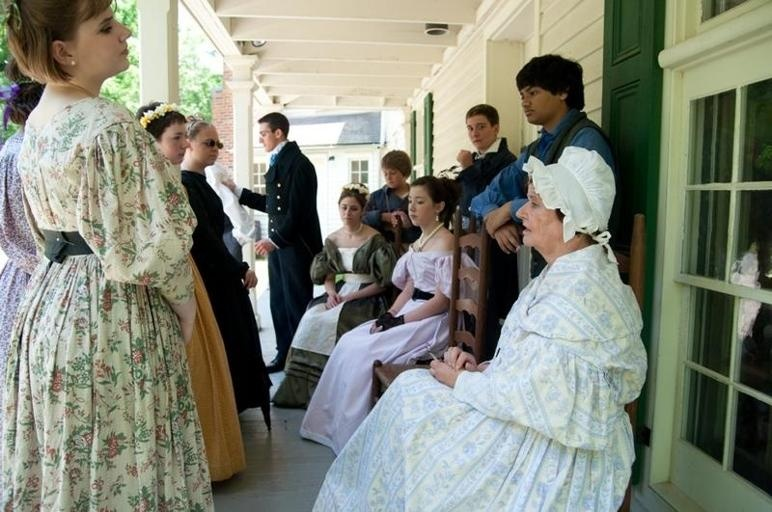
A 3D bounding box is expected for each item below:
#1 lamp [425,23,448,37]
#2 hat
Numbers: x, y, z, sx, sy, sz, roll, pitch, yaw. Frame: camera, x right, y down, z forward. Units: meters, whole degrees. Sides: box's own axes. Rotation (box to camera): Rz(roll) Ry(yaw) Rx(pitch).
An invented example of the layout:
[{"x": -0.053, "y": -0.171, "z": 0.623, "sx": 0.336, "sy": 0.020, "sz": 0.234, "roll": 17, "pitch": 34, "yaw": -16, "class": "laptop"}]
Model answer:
[{"x": 0.467, "y": -2.108, "z": 5.965, "sx": 0.210, "sy": 0.118, "sz": 0.344, "roll": 1, "pitch": 8, "yaw": 2, "class": "lamp"}, {"x": 0.685, "y": -0.253, "z": 2.560, "sx": 0.394, "sy": 0.397, "sz": 0.414, "roll": 12, "pitch": 31, "yaw": 13, "class": "hat"}]
